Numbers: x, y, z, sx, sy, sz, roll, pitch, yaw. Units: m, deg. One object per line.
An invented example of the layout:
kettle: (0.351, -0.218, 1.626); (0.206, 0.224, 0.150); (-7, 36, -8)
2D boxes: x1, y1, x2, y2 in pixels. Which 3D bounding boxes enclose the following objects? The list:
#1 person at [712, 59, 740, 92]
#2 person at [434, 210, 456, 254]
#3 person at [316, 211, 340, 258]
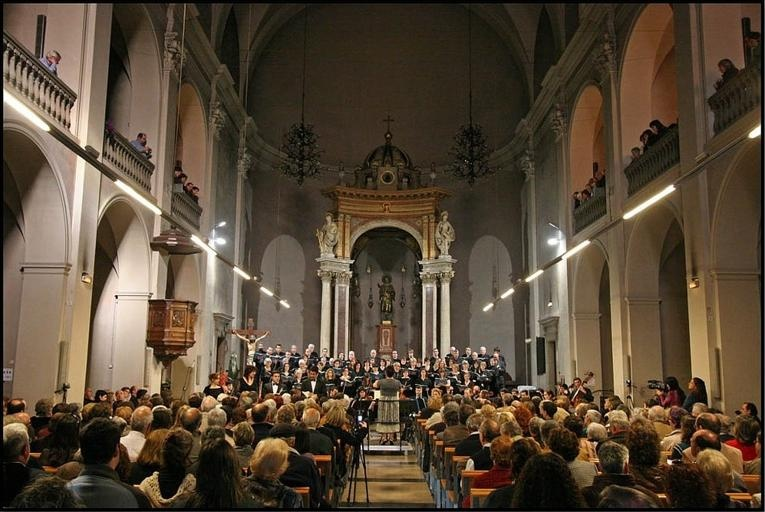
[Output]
person: (7.045, -3.820, 12.979); (0.375, 0.685, 0.751); (-7, -18, 23)
person: (2.635, -1.004, 27.302); (0.750, 2.131, 0.533); (0, -16, 1)
person: (-2.356, -0.935, 27.186); (0.815, 2.102, 0.680); (2, -16, -5)
